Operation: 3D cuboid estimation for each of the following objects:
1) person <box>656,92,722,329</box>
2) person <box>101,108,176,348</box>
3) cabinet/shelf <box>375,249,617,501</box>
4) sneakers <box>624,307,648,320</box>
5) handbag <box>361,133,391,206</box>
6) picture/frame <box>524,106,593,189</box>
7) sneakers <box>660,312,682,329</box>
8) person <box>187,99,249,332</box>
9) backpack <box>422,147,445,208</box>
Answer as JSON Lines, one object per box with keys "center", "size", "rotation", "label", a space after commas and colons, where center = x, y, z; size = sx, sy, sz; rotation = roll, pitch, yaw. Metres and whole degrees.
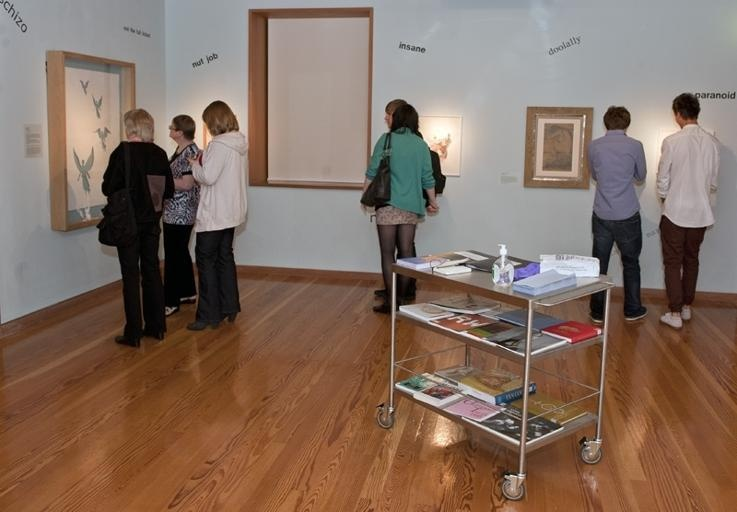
{"center": [3.276, -0.466, 5.460], "size": [0.575, 2.336, 0.505], "rotation": [-12, 19, -41], "label": "person"}
{"center": [-2.024, -0.093, 4.670], "size": [0.654, 1.803, 0.308], "rotation": [-9, 17, -34], "label": "person"}
{"center": [0.806, 0.689, 3.469], "size": [0.833, 1.159, 1.431], "rotation": [-3, 7, -34], "label": "cabinet/shelf"}
{"center": [2.905, 0.606, 5.684], "size": [0.304, 0.135, 0.116], "rotation": [-20, 21, -35], "label": "sneakers"}
{"center": [0.077, -0.854, 5.328], "size": [0.310, 0.778, 0.259], "rotation": [2, 14, 6], "label": "handbag"}
{"center": [2.375, -1.380, 6.469], "size": [0.946, 1.229, 0.100], "rotation": [1, 3, 10], "label": "picture/frame"}
{"center": [3.189, 0.672, 5.523], "size": [0.108, 0.118, 0.270], "rotation": [-1, 9, 9], "label": "sneakers"}
{"center": [-1.469, -0.369, 5.065], "size": [0.635, 2.175, 0.327], "rotation": [-4, 15, -16], "label": "person"}
{"center": [0.795, -0.909, 6.027], "size": [0.403, 0.585, 0.218], "rotation": [0, -3, 28], "label": "backpack"}
